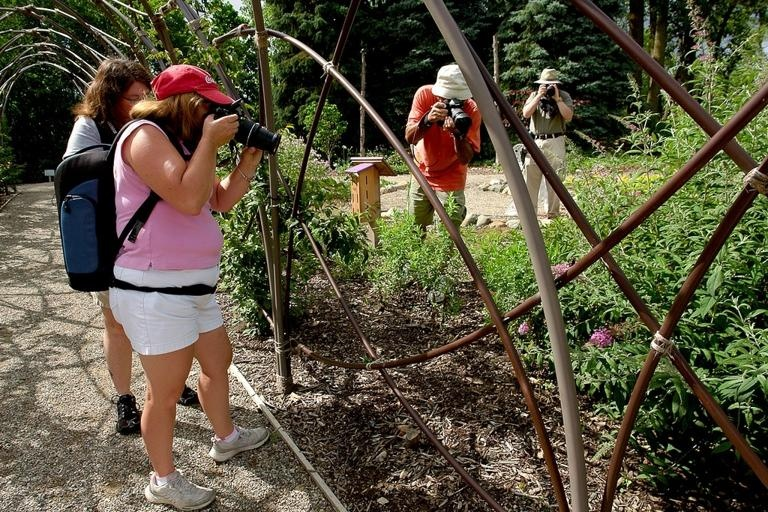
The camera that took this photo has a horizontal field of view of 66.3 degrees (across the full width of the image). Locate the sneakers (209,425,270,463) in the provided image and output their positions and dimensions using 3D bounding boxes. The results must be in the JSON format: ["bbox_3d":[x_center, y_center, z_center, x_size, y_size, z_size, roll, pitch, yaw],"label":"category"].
[{"bbox_3d":[-0.908,1.188,3.853,0.416,0.185,0.153,-14,22,-41],"label":"sneakers"}]

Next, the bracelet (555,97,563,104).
[{"bbox_3d":[2.133,-1.877,7.098,0.090,0.077,0.232,6,18,25],"label":"bracelet"}]

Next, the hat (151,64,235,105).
[{"bbox_3d":[-1.063,-0.950,3.221,0.347,0.182,0.220,-7,25,-14],"label":"hat"}]

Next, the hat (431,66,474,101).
[{"bbox_3d":[0.599,-1.464,4.954,0.327,0.304,0.506,-3,16,-4],"label":"hat"}]

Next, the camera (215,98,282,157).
[{"bbox_3d":[-0.765,-0.719,3.310,0.300,0.181,0.303,29,-2,8],"label":"camera"}]

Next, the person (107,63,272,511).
[{"bbox_3d":[-1.146,0.203,3.420,0.806,2.508,0.533,-9,17,-27],"label":"person"}]

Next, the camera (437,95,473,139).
[{"bbox_3d":[0.602,-1.051,4.686,0.284,0.187,0.322,6,51,-23],"label":"camera"}]

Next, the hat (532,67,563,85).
[{"bbox_3d":[2.051,-2.224,7.285,0.234,0.191,0.494,2,16,13],"label":"hat"}]

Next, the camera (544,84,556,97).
[{"bbox_3d":[2.011,-1.990,7.093,0.129,0.131,0.070,-2,15,-2],"label":"camera"}]
